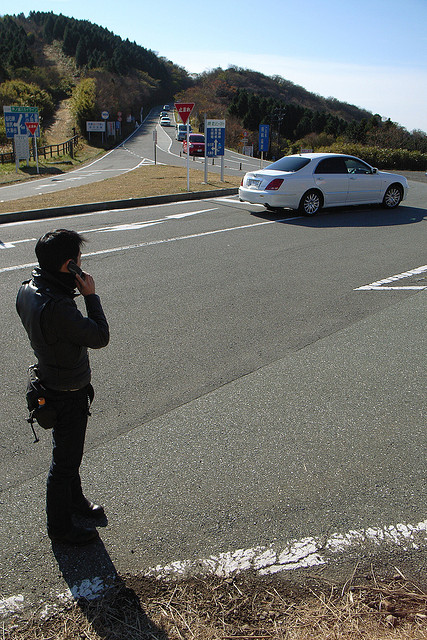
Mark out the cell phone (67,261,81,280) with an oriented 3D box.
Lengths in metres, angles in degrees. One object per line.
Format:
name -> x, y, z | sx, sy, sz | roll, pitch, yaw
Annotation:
cell phone -> -0.631, -0.234, 2.348 | 0.017, 0.069, 0.037 | 1, 45, 37

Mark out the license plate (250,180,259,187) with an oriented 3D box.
license plate -> 1.022, -3.408, 12.914 | 0.181, 0.129, 0.025 | 18, 31, 19

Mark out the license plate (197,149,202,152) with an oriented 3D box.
license plate -> -1.214, -14.796, 45.214 | 0.142, 0.223, 0.411 | 13, 20, 41
